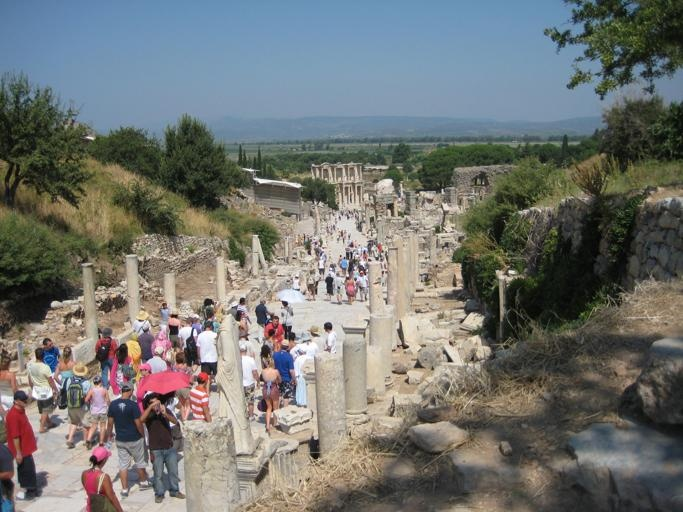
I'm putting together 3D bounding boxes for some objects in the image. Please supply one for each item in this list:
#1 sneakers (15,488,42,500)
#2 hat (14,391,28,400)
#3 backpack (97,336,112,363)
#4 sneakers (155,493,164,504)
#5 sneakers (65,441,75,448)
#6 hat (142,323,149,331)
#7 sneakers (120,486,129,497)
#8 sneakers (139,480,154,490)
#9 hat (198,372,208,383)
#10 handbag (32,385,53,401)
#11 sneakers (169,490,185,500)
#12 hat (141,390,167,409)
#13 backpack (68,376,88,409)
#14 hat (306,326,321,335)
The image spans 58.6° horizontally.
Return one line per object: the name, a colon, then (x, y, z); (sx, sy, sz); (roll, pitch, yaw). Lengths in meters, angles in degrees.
sneakers: (-4.992, 3.774, 9.671); (0.370, 0.160, 0.221); (-8, 7, -29)
hat: (-4.971, 2.155, 9.422); (0.128, 0.110, 0.186); (4, 9, 12)
backpack: (-4.848, 1.908, 12.366); (0.282, 0.489, 0.474); (3, -10, -7)
sneakers: (-2.883, 3.817, 9.573); (0.072, 0.125, 0.118); (-4, -20, 20)
sneakers: (-4.988, 3.446, 11.132); (0.075, 0.149, 0.064); (-1, 45, -1)
hat: (-4.473, 1.624, 13.868); (0.123, 0.137, 0.132); (-1, -11, 1)
sneakers: (-3.491, 3.769, 9.761); (0.124, 0.136, 0.170); (-7, 6, -21)
sneakers: (-3.208, 3.740, 9.960); (0.226, 0.117, 0.104); (-1, 3, -34)
hat: (-2.257, 1.975, 9.993); (0.166, 0.150, 0.291); (8, -17, 4)
handbag: (-5.665, 2.589, 11.505); (0.271, 0.307, 0.105); (0, -12, -15)
sneakers: (-2.643, 3.814, 9.729); (0.203, 0.101, 0.114); (1, 3, 14)
hat: (-3.012, 2.249, 9.652); (0.278, 0.384, 0.380); (0, 4, -7)
backpack: (-4.888, 2.485, 11.157); (0.331, 0.575, 0.317); (11, -4, -37)
hat: (-0.799, 2.161, 17.240); (0.261, 0.133, 0.311); (2, 7, -24)
